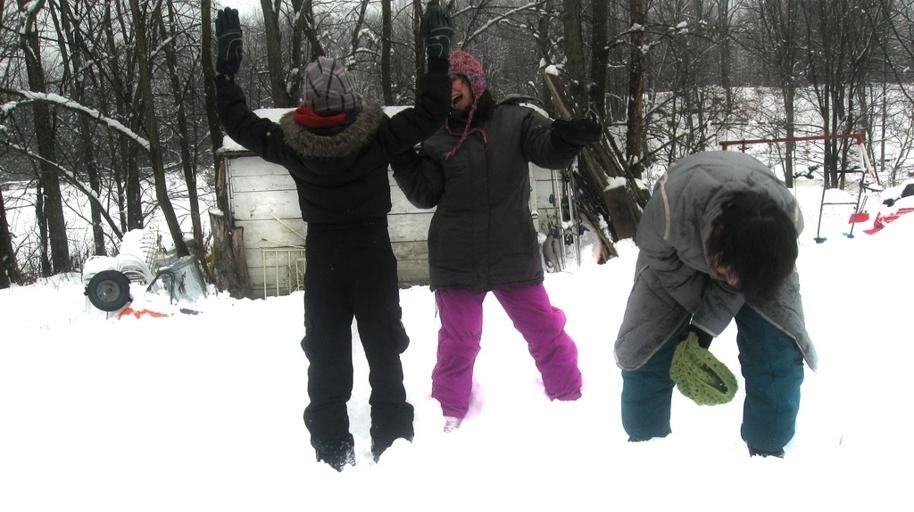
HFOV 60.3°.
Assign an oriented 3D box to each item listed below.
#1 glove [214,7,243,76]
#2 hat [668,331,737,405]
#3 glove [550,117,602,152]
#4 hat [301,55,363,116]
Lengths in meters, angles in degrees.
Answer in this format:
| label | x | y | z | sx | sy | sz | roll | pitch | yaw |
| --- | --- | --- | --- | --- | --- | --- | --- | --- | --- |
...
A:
| label | x | y | z | sx | sy | sz | roll | pitch | yaw |
| --- | --- | --- | --- | --- | --- | --- | --- | --- | --- |
| glove | -3.500 | -3.268 | 12.064 | 0.426 | 1.056 | 0.400 | -6 | 12 | -17 |
| hat | 3.624 | 1.756 | 11.823 | 0.868 | 1.122 | 0.367 | -37 | -12 | -3 |
| glove | 1.814 | -1.862 | 12.070 | 0.755 | 0.497 | 0.212 | 1 | 12 | 13 |
| hat | -2.002 | -2.636 | 12.229 | 0.889 | 0.815 | 0.803 | -9 | 13 | -20 |
